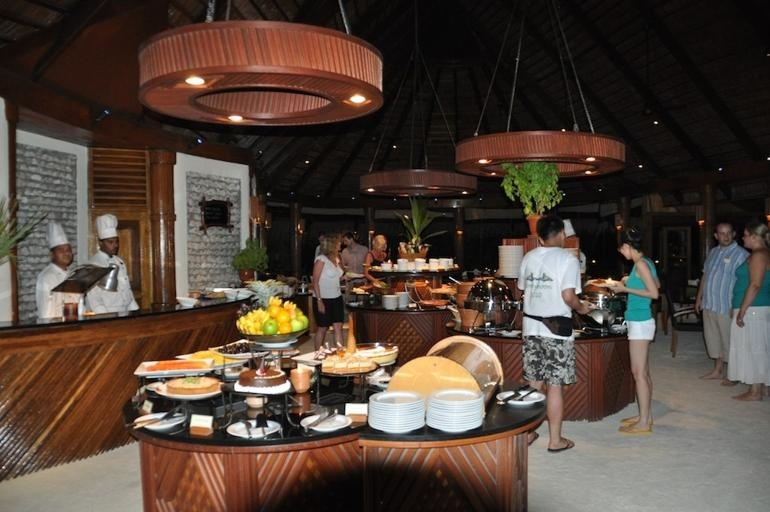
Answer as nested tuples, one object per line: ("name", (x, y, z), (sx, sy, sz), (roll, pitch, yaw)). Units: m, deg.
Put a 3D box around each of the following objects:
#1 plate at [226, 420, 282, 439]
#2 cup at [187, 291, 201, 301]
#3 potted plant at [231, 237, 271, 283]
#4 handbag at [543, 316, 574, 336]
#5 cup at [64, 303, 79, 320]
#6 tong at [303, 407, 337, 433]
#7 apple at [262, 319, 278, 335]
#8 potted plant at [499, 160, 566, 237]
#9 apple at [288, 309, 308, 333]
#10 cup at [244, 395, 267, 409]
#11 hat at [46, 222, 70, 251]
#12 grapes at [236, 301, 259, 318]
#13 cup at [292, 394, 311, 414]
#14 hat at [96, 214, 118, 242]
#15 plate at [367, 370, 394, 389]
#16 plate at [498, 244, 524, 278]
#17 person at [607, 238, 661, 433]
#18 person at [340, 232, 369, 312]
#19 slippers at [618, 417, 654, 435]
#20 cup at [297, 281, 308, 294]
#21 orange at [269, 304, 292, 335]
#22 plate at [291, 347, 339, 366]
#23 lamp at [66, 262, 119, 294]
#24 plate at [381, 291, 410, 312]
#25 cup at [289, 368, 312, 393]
("plate", (-0.868, 1.170, 3.766), (0.172, 0.022, 0.168), (-4, 7, -34))
("cup", (-2.570, 0.541, 7.566), (0.211, 0.108, 0.196), (1, 7, 0))
("potted plant", (-2.354, 0.088, 9.844), (0.706, 0.885, 0.709), (0, 4, -15))
("handbag", (1.622, 0.648, 5.246), (0.211, 0.148, 0.208), (8, 9, 31))
("cup", (-3.101, 0.545, 5.548), (0.163, 0.176, 0.161), (1, -3, 0))
("tong", (-0.433, 1.131, 3.911), (0.076, 0.045, 0.277), (9, 15, 20))
("apple", (-0.844, 0.526, 4.153), (0.100, 0.097, 0.099), (0, 6, 2))
("potted plant", (1.895, -0.651, 7.106), (0.943, 1.199, 0.821), (0, 1, 21))
("apple", (-0.651, 0.489, 4.284), (0.148, 0.173, 0.150), (-4, 34, -10))
("cup", (-0.946, 1.040, 4.062), (0.104, 0.059, 0.106), (1, 0, 0))
("hat", (-3.586, -0.206, 6.141), (0.251, 0.314, 0.329), (-6, 8, -30))
("grapes", (-1.040, 0.393, 4.300), (0.147, 0.085, 0.259), (-3, 13, -12))
("cup", (-0.601, 1.067, 4.035), (0.121, 0.108, 0.117), (-1, -6, 0))
("hat", (-3.206, -0.340, 6.595), (0.322, 0.308, 0.257), (1, 1, 25))
("plate", (-0.037, 0.973, 4.436), (0.133, 0.157, 0.140), (-3, -6, 43))
("plate", (1.490, 0.047, 6.996), (0.375, 0.404, 0.378), (6, 10, 24))
("person", (2.620, 0.795, 5.879), (0.512, 2.141, 0.631), (3, 14, 16))
("person", (-0.595, 0.419, 11.005), (0.558, 1.699, 0.530), (-3, 18, 2))
("slippers", (2.631, 1.823, 5.954), (0.230, 0.069, 0.236), (1, -2, 12))
("cup", (-1.592, 0.609, 10.808), (0.220, 0.204, 0.179), (0, 2, 15))
("orange", (-0.754, 0.473, 4.160), (0.136, 0.180, 0.078), (-1, -14, -24))
("plate", (-0.555, 0.830, 4.620), (0.240, 0.034, 0.164), (-8, 13, -37))
("lamp", (-3.016, 0.259, 5.948), (0.362, 0.188, 0.371), (9, 13, 33))
("plate", (0.163, 0.678, 8.387), (0.373, 0.218, 0.207), (2, 2, 7))
("cup", (-0.611, 0.901, 4.069), (0.168, 0.161, 0.165), (1, -5, 0))
